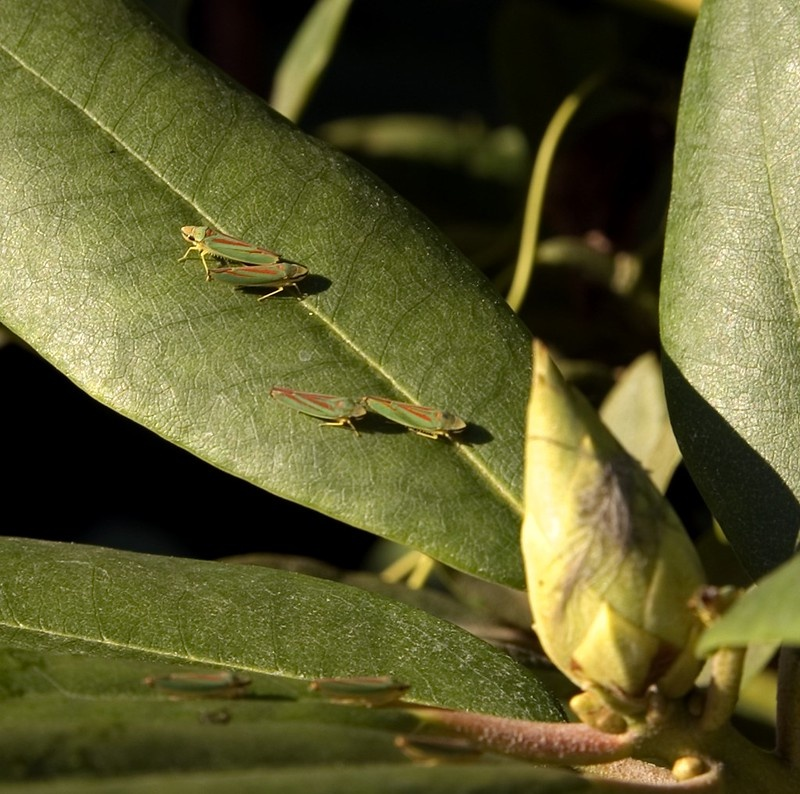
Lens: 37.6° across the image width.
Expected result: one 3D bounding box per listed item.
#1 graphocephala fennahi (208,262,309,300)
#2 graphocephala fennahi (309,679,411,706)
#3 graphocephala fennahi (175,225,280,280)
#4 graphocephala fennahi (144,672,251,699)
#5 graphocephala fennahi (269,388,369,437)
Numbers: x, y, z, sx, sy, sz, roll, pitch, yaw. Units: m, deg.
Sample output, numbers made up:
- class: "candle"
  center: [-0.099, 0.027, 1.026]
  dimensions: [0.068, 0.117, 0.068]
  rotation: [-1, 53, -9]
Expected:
- class: "graphocephala fennahi"
  center: [-0.184, -0.153, 1.530]
  dimensions: [0.129, 0.037, 0.042]
  rotation: [-2, 50, -8]
- class: "graphocephala fennahi"
  center: [-0.039, 0.293, 1.176]
  dimensions: [0.104, 0.031, 0.027]
  rotation: [8, 73, 2]
- class: "graphocephala fennahi"
  center: [-0.218, -0.182, 1.491]
  dimensions: [0.103, 0.029, 0.061]
  rotation: [18, 45, 7]
- class: "graphocephala fennahi"
  center: [-0.196, 0.286, 1.174]
  dimensions: [0.081, 0.022, 0.036]
  rotation: [-1, 12, -8]
- class: "graphocephala fennahi"
  center: [-0.098, 0.021, 1.487]
  dimensions: [0.123, 0.034, 0.046]
  rotation: [10, 60, 4]
